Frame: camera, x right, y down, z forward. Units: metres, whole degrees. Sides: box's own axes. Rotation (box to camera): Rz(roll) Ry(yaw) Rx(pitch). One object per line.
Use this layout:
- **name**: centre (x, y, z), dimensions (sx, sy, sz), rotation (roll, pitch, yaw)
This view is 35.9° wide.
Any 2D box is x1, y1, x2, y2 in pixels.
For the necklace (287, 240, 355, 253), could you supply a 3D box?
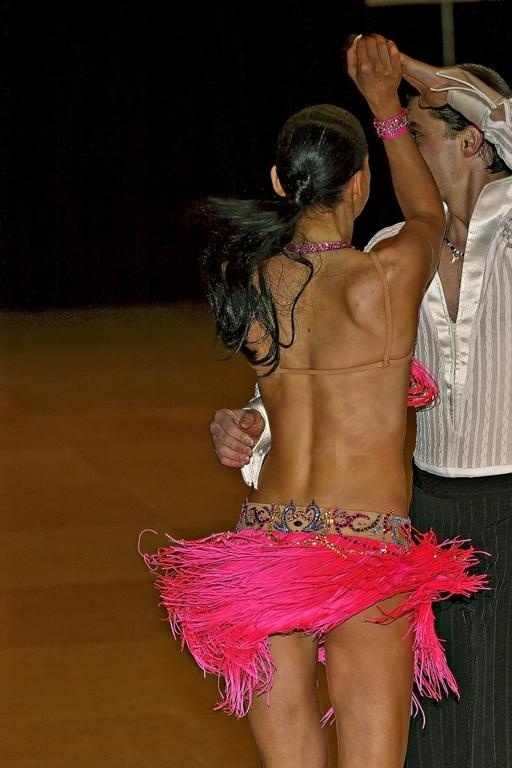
- **necklace**: centre (0.091, -0.190, 1.103), dimensions (0.081, 0.017, 0.034), rotation (-5, 9, 4)

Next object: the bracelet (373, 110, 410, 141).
- **bracelet**: centre (0.211, -0.395, 1.217), dimensions (0.053, 0.038, 0.054), rotation (-20, 7, 10)
